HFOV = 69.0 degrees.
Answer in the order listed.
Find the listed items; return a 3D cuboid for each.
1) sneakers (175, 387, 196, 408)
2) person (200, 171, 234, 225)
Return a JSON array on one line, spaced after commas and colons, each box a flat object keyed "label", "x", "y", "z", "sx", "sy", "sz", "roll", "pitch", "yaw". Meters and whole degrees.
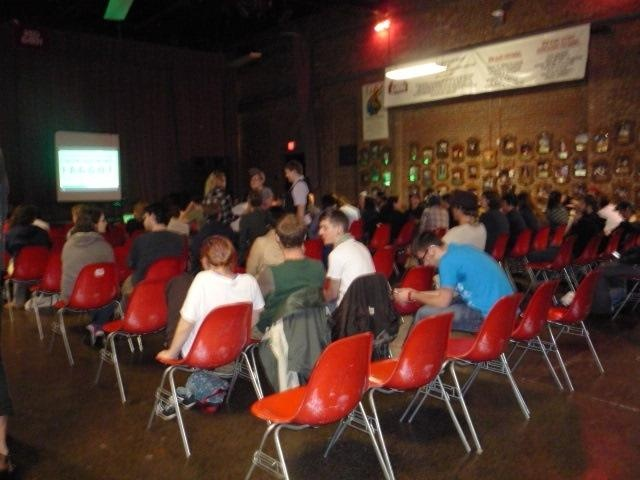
[{"label": "sneakers", "x": -1.093, "y": 1.291, "z": 3.774, "sx": 0.126, "sy": 0.067, "sz": 0.205, "roll": -13, "pitch": 25, "yaw": -28}, {"label": "person", "x": -1.472, "y": -0.545, "z": 7.103, "sx": 0.348, "sy": 0.949, "sz": 0.355, "roll": -16, "pitch": -33, "yaw": 4}]
